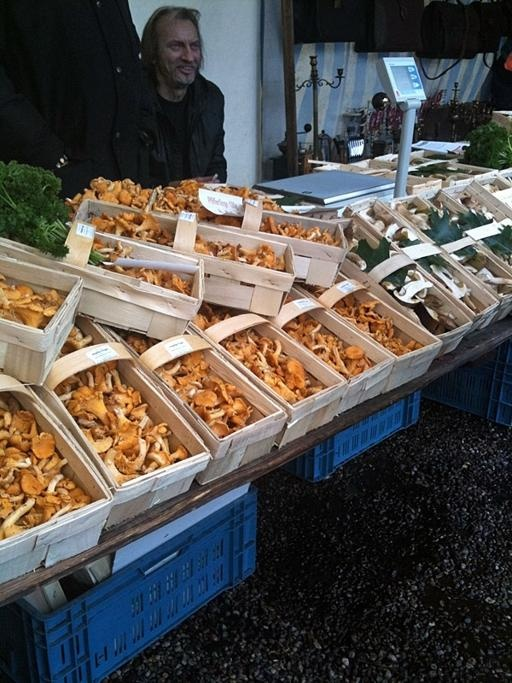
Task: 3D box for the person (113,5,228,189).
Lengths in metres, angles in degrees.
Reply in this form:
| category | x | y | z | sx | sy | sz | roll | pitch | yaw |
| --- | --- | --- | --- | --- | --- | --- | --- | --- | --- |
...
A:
| category | x | y | z | sx | sy | sz | roll | pitch | yaw |
| --- | --- | --- | --- | --- | --- | --- | --- | --- | --- |
| person | -0.562 | -1.650 | 3.314 | 0.760 | 1.568 | 0.647 | -4 | 15 | -24 |
